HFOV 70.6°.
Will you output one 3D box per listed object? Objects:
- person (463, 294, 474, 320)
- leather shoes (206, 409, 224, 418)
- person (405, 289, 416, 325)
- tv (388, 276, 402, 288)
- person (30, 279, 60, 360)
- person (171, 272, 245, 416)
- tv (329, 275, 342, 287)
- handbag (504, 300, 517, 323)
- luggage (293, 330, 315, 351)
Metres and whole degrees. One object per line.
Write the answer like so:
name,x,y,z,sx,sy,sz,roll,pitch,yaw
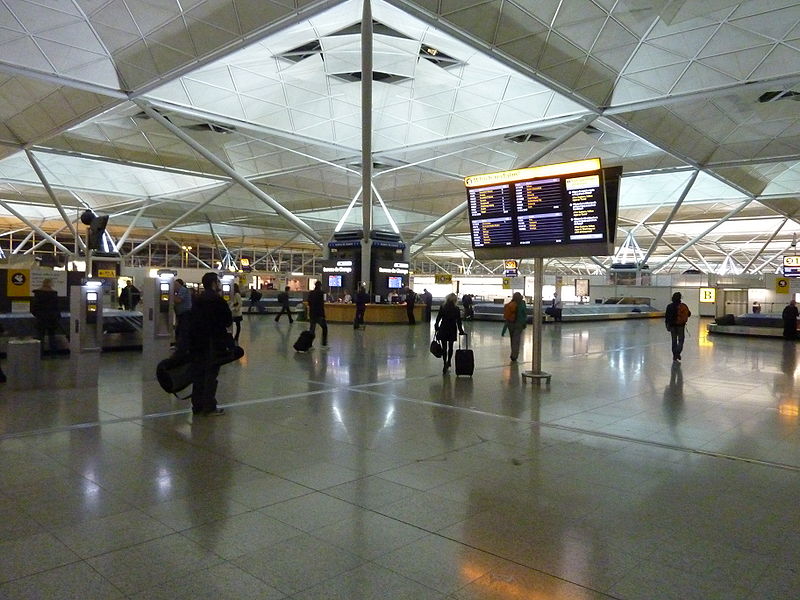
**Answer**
person,3.915,0.424,32.033,0.626,1.301,1.303,1,2,5
leather shoes,-2.923,1.784,8.904,0.248,0.138,0.103,-3,0,-11
person,0.515,0.406,29.264,0.444,1.643,0.906,0,3,-1
tv,-0.264,-0.970,32.818,0.252,0.726,1.054,3,3,39
person,-8.695,0.448,13.896,0.542,1.908,1.621,-1,3,-31
person,-2.960,0.690,8.902,0.868,2.202,0.449,2,3,27
tv,-3.715,-1.090,32.720,0.833,0.499,0.109,2,2,28
handbag,2.829,0.294,14.536,0.265,0.618,0.415,0,3,-11
luggage,-2.830,1.236,16.783,0.453,0.575,0.348,21,-13,7
